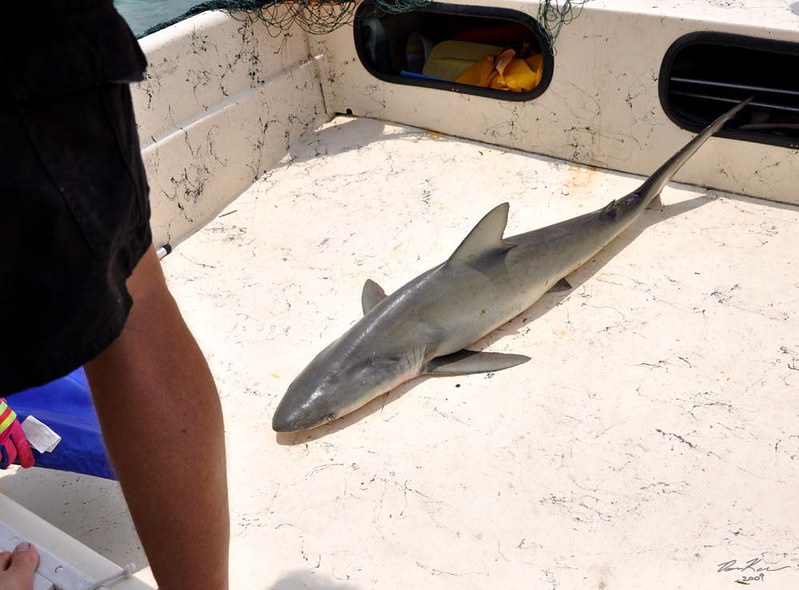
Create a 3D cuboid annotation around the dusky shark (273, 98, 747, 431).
[{"bbox_3d":[0.352,-0.029,2.207,0.471,1.595,0.335,50,-24,13],"label":"dusky shark"}]
